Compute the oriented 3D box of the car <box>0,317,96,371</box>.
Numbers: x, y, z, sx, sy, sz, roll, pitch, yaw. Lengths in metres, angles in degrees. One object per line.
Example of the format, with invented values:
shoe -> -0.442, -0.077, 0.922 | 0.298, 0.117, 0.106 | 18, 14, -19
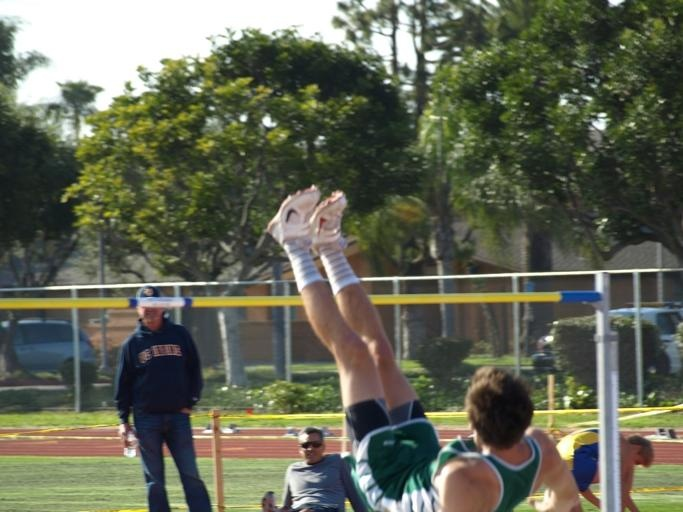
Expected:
car -> -7.189, 2.211, 46.658 | 2.458, 1.011, 1.246 | 5, -6, 5
